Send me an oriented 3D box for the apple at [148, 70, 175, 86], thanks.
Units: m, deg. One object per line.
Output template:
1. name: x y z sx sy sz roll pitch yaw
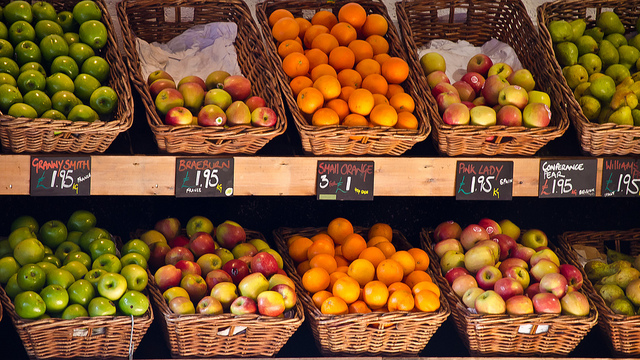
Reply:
1. apple: -0.810 -0.481 2.401 0.105 0.088 0.085 8 -28 -30

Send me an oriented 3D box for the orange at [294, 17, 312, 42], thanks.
1. orange: -0.089 -0.814 2.562 0.107 0.130 0.111 -2 15 4

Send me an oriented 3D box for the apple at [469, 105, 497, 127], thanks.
1. apple: 0.789 -0.307 2.283 0.104 0.107 0.105 10 11 17

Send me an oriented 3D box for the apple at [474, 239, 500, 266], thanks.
1. apple: 0.896 0.393 2.524 0.116 0.122 0.139 11 -26 -31

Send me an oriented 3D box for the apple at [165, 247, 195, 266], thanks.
1. apple: -0.691 0.368 2.319 0.093 0.092 0.095 3 4 -7

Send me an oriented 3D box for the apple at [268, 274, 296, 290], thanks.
1. apple: -0.171 0.466 2.246 0.098 0.079 0.078 16 2 -15

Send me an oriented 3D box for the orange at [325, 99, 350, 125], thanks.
1. orange: 0.099 -0.323 2.350 0.119 0.142 0.116 2 -7 -40

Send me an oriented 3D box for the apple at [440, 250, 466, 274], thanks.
1. apple: 0.692 0.420 2.482 0.110 0.108 0.108 -14 22 -30

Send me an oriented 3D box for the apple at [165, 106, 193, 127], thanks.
1. apple: -0.631 -0.284 2.126 0.088 0.105 0.090 19 34 1

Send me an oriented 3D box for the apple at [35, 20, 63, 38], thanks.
1. apple: -1.301 -0.727 2.283 0.114 0.095 0.094 2 -38 -20

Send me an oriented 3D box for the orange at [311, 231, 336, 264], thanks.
1. orange: 0.007 0.347 2.410 0.120 0.145 0.114 0 0 -31

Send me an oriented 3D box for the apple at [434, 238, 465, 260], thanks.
1. apple: 0.705 0.359 2.546 0.118 0.154 0.118 9 -40 14

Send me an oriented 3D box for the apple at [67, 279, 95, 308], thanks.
1. apple: -1.059 0.495 2.149 0.110 0.115 0.106 -20 -1 -19

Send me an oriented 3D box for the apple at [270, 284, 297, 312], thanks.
1. apple: -0.157 0.527 2.238 0.113 0.117 0.117 -22 -25 -20

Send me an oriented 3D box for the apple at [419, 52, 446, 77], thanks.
1. apple: 0.618 -0.643 2.623 0.125 0.129 0.146 -5 -36 9

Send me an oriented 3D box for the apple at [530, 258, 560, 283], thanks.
1. apple: 1.128 0.437 2.371 0.113 0.114 0.120 8 13 32

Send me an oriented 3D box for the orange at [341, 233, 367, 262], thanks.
1. orange: 0.172 0.338 2.451 0.123 0.147 0.127 -3 5 26

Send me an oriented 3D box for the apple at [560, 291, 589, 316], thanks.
1. apple: 1.201 0.601 2.287 0.110 0.131 0.107 6 -21 -9

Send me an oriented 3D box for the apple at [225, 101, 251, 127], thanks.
1. apple: -0.373 -0.298 2.239 0.106 0.136 0.117 1 -6 15

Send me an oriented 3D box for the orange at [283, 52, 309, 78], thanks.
1. orange: -0.117 -0.577 2.445 0.115 0.118 0.138 -22 6 -11

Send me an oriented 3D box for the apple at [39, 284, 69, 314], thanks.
1. apple: -1.149 0.512 2.056 0.116 0.119 0.116 8 5 -4

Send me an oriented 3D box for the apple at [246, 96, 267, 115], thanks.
1. apple: -0.303 -0.364 2.251 0.081 0.078 0.080 11 13 -10

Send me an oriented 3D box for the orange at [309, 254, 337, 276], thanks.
1. orange: 0.022 0.406 2.332 0.097 0.097 0.118 3 34 -3

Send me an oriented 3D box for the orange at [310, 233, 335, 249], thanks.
1. orange: 0.012 0.301 2.503 0.075 0.093 0.076 8 -24 33

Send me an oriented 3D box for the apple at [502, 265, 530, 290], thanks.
1. apple: 0.986 0.467 2.351 0.112 0.109 0.111 -8 11 -29

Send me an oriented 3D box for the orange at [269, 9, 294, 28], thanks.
1. orange: -0.208 -0.853 2.604 0.099 0.121 0.102 -9 -38 22

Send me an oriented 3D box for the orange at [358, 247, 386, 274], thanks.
1. orange: 0.261 0.403 2.369 0.108 0.128 0.108 0 -5 -8

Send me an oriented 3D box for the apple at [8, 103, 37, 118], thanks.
1. apple: -1.273 -0.295 2.027 0.101 0.077 0.078 2 5 -8

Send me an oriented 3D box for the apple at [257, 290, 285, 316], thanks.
1. apple: -0.234 0.576 2.179 0.132 0.139 0.141 -11 -14 32

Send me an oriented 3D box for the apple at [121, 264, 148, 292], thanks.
1. apple: -0.845 0.447 2.175 0.103 0.115 0.114 1 13 1

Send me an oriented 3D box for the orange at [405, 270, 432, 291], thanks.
1. orange: 0.483 0.485 2.290 0.087 0.104 0.088 3 -19 2

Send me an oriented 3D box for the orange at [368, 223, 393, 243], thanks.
1. orange: 0.340 0.280 2.620 0.102 0.102 0.103 8 -38 4

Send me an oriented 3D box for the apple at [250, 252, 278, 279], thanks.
1. apple: -0.271 0.407 2.290 0.111 0.108 0.110 4 7 -13

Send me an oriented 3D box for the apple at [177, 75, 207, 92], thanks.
1. apple: -0.646 -0.501 2.381 0.098 0.094 0.101 4 46 0

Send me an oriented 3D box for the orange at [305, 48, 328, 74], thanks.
1. orange: -0.014 -0.616 2.472 0.113 0.134 0.113 4 15 21

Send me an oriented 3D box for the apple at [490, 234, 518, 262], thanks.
1. apple: 1.001 0.351 2.547 0.159 0.133 0.132 7 3 -12

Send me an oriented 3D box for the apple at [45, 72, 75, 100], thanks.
1. apple: -1.191 -0.423 2.164 0.090 0.110 0.091 -40 -22 11

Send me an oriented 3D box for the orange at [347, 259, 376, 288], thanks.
1. orange: 0.205 0.447 2.363 0.128 0.149 0.126 -6 21 -4

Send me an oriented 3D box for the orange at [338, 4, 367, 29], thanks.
1. orange: 0.200 -0.886 2.606 0.124 0.123 0.146 38 20 -8

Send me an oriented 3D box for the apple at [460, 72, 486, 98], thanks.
1. apple: 0.823 -0.532 2.620 0.122 0.123 0.144 3 35 1

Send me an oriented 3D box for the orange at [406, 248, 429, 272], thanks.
1. orange: 0.522 0.420 2.505 0.106 0.109 0.102 -3 8 -11

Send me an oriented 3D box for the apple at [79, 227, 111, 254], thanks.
1. apple: -1.120 0.293 2.410 0.124 0.131 0.122 -11 -35 33

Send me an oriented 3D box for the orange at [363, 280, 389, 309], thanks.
1. orange: 0.257 0.534 2.221 0.125 0.125 0.117 5 -14 3

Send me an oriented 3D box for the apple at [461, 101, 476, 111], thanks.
1. apple: 0.758 -0.374 2.400 0.049 0.039 0.064 3 9 2

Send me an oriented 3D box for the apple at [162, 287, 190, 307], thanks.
1. apple: -0.664 0.519 2.164 0.081 0.086 0.084 3 8 -3

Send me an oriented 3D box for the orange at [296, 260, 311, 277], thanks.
1. orange: -0.085 0.449 2.442 0.072 0.089 0.073 7 3 8
